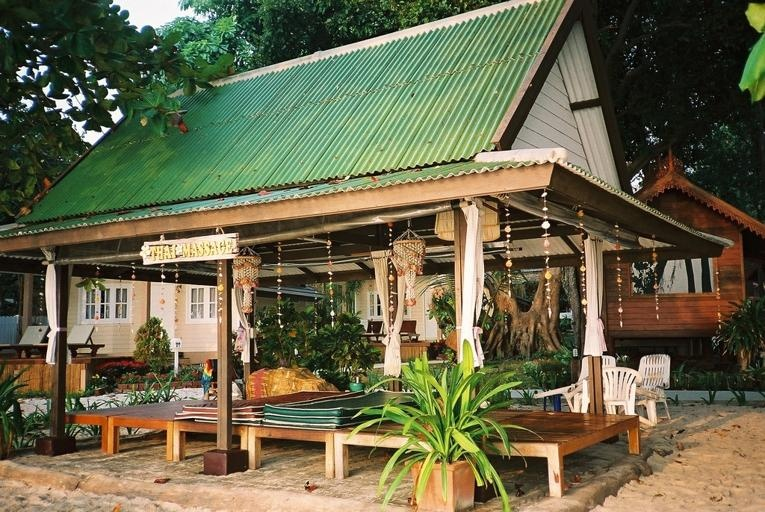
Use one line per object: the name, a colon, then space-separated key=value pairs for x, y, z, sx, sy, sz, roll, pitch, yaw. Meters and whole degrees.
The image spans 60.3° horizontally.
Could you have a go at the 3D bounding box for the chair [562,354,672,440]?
chair: x=4.955 y=2.696 z=13.696 sx=1.651 sy=1.273 sz=2.601 roll=-2 pitch=-2 yaw=25

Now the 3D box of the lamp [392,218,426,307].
lamp: x=0.460 y=0.118 z=11.887 sx=0.570 sy=1.509 sz=1.086 roll=-2 pitch=-9 yaw=1

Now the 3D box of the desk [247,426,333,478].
desk: x=-1.407 y=2.985 z=10.109 sx=1.598 sy=0.733 sz=0.239 roll=-6 pitch=-10 yaw=28

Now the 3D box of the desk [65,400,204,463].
desk: x=-4.337 y=3.147 z=11.864 sx=2.512 sy=0.799 sz=1.169 roll=-6 pitch=-10 yaw=24
